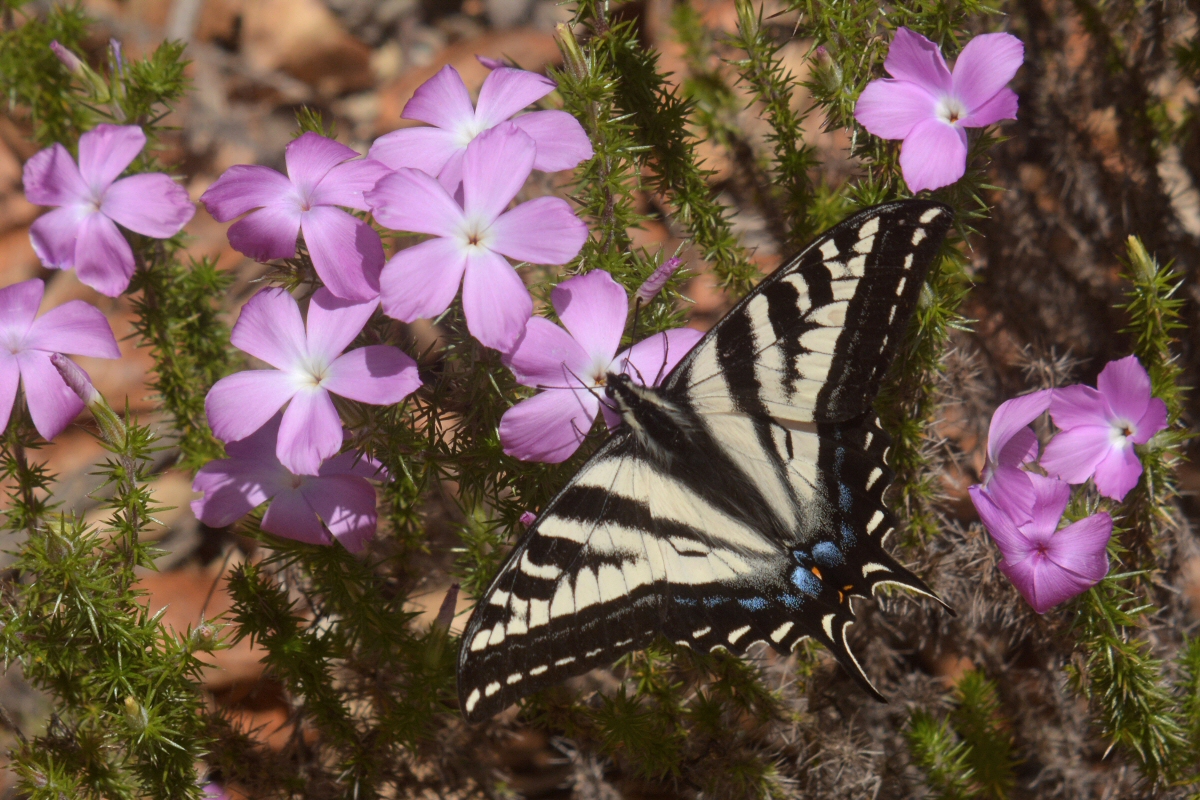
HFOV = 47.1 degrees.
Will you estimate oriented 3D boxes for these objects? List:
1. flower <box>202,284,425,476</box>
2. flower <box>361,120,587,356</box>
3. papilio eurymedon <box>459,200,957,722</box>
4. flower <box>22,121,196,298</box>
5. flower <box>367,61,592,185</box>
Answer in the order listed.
[{"bbox_3d":[-0.927,-0.095,4.410,0.599,0.569,0.650,-7,-75,-25],"label":"flower"},{"bbox_3d":[-0.371,-0.482,4.241,0.662,0.550,0.337,-17,-33,0],"label":"flower"},{"bbox_3d":[0.368,0.307,4.940,1.247,1.846,2.034,0,-14,3],"label":"papilio eurymedon"},{"bbox_3d":[-1.611,-0.647,4.515,0.551,0.513,0.232,-23,-33,8],"label":"flower"},{"bbox_3d":[-0.398,-0.890,4.415,0.524,0.513,0.511,-10,-71,-27],"label":"flower"}]
